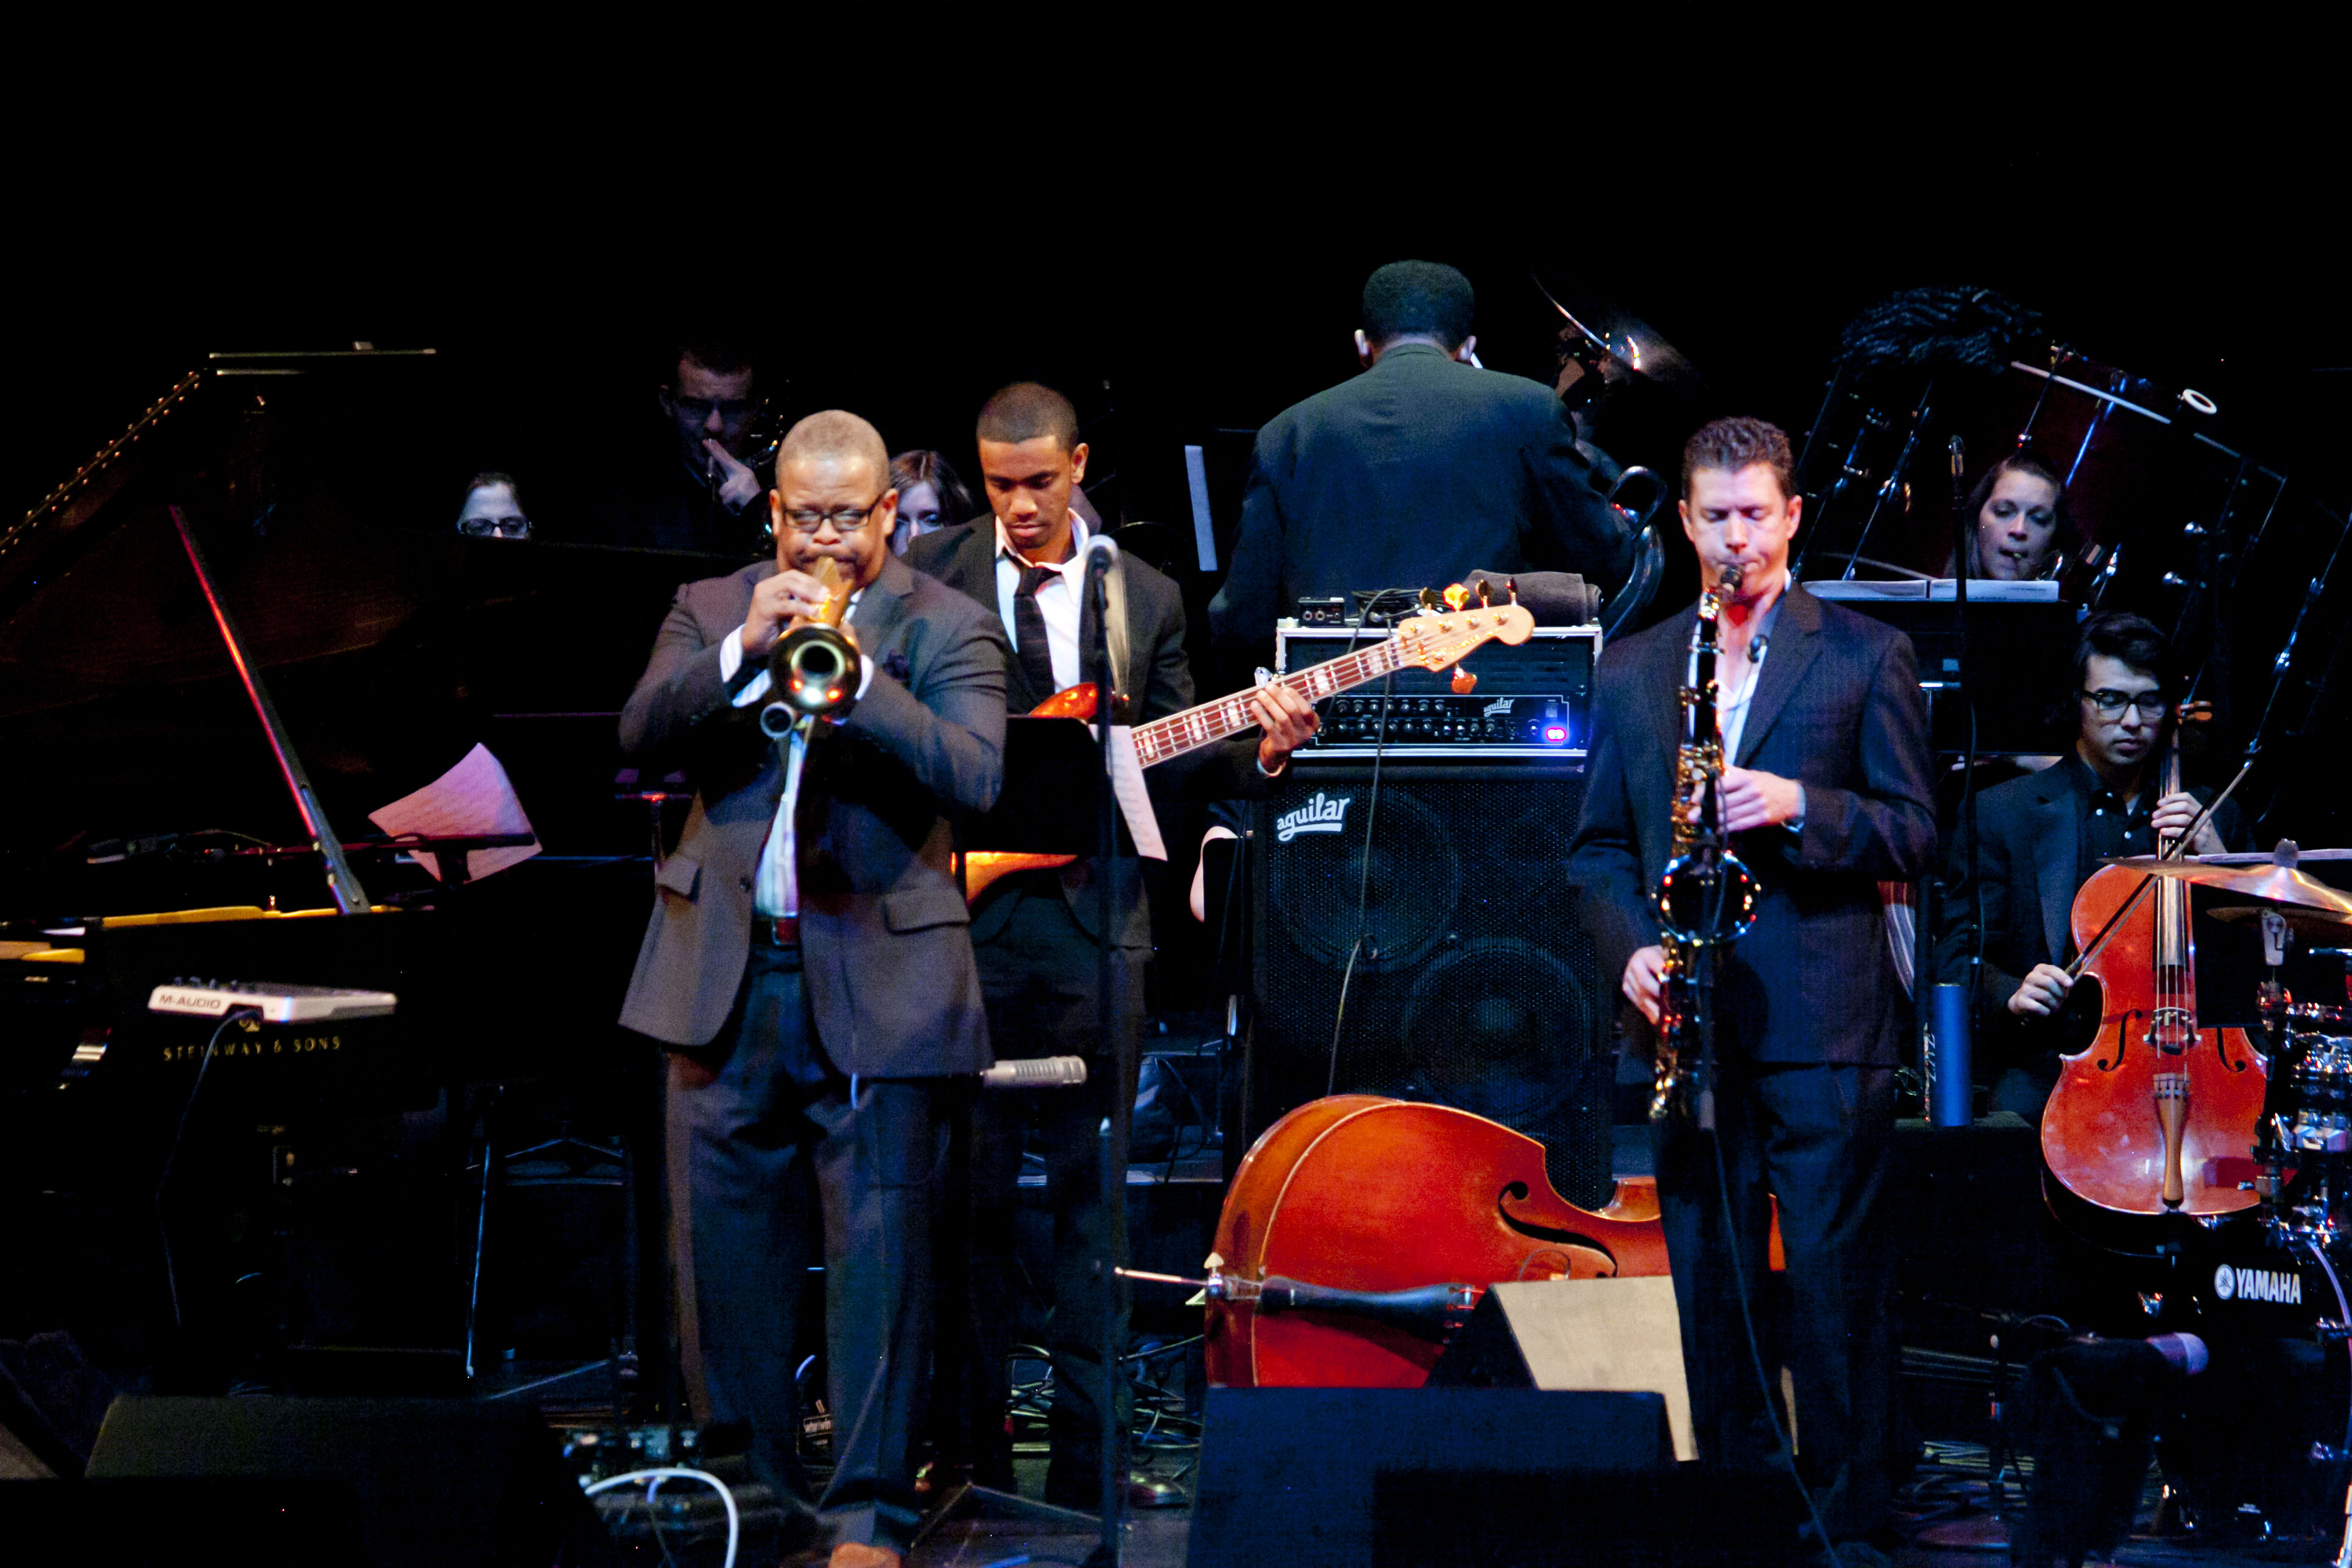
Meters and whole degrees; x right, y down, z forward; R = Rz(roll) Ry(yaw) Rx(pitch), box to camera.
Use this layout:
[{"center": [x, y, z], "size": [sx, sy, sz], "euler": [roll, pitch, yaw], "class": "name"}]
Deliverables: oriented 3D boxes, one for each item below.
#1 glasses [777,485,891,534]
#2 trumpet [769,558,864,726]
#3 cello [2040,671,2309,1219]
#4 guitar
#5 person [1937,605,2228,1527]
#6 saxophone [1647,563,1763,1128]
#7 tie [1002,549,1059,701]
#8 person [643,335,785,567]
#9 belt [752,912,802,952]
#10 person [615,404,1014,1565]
[{"center": [-0.842, -0.663, 5.866], "size": [0.270, 0.099, 0.143], "euler": [0, 6, -7], "class": "glasses"}, {"center": [-0.870, -0.330, 5.726], "size": [0.226, 0.393, 0.262], "euler": [0, 7, -8], "class": "trumpet"}, {"center": [2.737, 0.586, 6.581], "size": [0.553, 1.145, 0.399], "euler": [2, 1, -11], "class": "cello"}, {"center": [0.130, -0.085, 6.530], "size": [1.458, 0.904, 0.733], "euler": [-1, 7, -17], "class": "guitar"}, {"center": [2.710, 0.319, 7.245], "size": [0.760, 1.575, 0.524], "euler": [6, -4, -7], "class": "person"}, {"center": [1.331, 0.200, 6.028], "size": [0.234, 1.340, 0.330], "euler": [4, 8, 27], "class": "saxophone"}, {"center": [-0.423, -0.444, 6.920], "size": [0.244, 0.473, 0.077], "euler": [-1, -6, 0], "class": "tie"}, {"center": [-1.736, -1.208, 8.617], "size": [0.617, 0.924, 0.226], "euler": [2, 7, 5], "class": "person"}, {"center": [-0.975, 0.367, 5.834], "size": [0.103, 0.092, 0.101], "euler": [4, 3, 8], "class": "belt"}, {"center": [-0.883, 0.481, 5.847], "size": [0.922, 2.759, 0.768], "euler": [0, 7, -4], "class": "person"}]
